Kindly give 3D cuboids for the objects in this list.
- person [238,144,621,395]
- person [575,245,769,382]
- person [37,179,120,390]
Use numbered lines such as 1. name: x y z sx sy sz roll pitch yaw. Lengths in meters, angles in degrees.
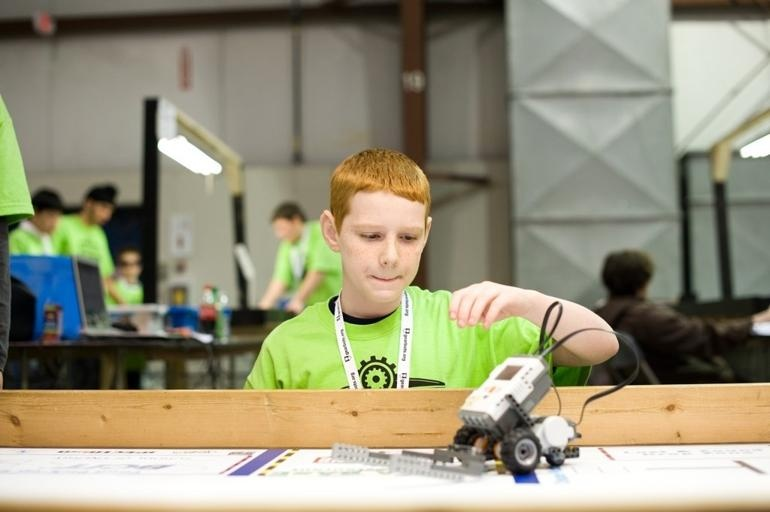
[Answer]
1. person: 0.118 0.046 3.357 1.270 0.898 0.466 0 -1 22
2. person: 1.724 0.405 5.346 0.829 1.101 0.814 -10 3 -8
3. person: -2.200 0.323 6.666 0.544 1.718 0.573 12 10 32
